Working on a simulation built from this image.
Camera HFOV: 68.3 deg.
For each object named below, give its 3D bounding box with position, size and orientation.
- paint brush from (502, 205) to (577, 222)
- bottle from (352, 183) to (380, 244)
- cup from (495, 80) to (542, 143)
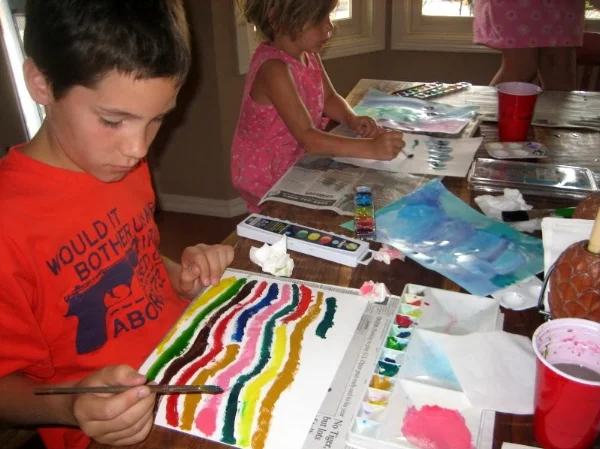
[{"bbox_3d":[0.516,-0.025,0.960,0.166,0.017,0.057,-1,27,0],"label":"paint brush"},{"bbox_3d":[0.142,-0.018,0.953,0.039,0.035,0.151,-4,52,12],"label":"bottle"},{"bbox_3d":[0.614,-0.309,1.261,0.113,0.136,0.113,-1,21,0],"label":"cup"}]
